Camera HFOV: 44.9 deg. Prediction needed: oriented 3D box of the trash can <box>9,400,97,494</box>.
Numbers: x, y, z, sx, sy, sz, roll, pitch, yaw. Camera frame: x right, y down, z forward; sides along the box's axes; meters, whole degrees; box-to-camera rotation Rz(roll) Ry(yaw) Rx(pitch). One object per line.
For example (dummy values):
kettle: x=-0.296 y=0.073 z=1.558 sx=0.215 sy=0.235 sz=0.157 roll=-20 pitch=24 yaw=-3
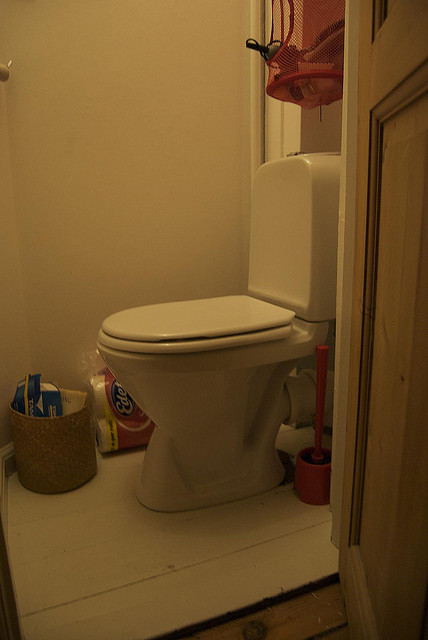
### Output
trash can: x=-0.331 y=0.275 z=1.094 sx=0.154 sy=0.212 sz=0.168 roll=-4 pitch=14 yaw=-17

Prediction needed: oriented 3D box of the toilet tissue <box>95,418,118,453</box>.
toilet tissue: x=-0.259 y=0.276 z=1.258 sx=0.054 sy=0.118 sz=0.056 roll=-4 pitch=17 yaw=-19

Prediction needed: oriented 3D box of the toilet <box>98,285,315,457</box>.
toilet: x=-0.017 y=0.135 z=1.089 sx=0.409 sy=0.364 sz=0.364 roll=-7 pitch=15 yaw=-16
